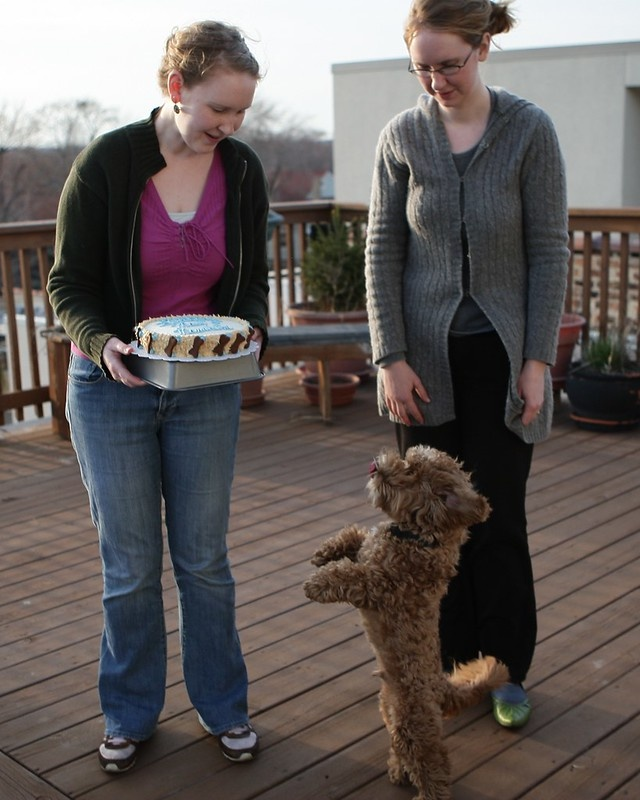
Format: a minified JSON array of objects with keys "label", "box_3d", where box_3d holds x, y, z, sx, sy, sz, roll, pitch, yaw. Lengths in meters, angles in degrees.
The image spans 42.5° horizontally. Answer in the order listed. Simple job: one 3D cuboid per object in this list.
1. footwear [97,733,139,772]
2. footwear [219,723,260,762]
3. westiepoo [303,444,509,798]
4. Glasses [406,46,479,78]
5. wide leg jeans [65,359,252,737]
[{"label":"footwear","box_3d":[-0.445,0.776,1.805,0.053,0.032,0.097,5,15,3]},{"label":"footwear","box_3d":[-0.177,0.766,1.843,0.048,0.038,0.110,0,0,-15]},{"label":"westiepoo","box_3d":[0.192,0.441,1.732,0.381,0.752,0.385,-2,12,11]},{"label":"Glasses","box_3d":[0.245,-0.676,1.660,0.123,0.051,0.061,-1,11,14]},{"label":"wide leg jeans","box_3d":[-0.360,0.307,1.934,0.472,0.788,0.437,-4,21,-22]}]
